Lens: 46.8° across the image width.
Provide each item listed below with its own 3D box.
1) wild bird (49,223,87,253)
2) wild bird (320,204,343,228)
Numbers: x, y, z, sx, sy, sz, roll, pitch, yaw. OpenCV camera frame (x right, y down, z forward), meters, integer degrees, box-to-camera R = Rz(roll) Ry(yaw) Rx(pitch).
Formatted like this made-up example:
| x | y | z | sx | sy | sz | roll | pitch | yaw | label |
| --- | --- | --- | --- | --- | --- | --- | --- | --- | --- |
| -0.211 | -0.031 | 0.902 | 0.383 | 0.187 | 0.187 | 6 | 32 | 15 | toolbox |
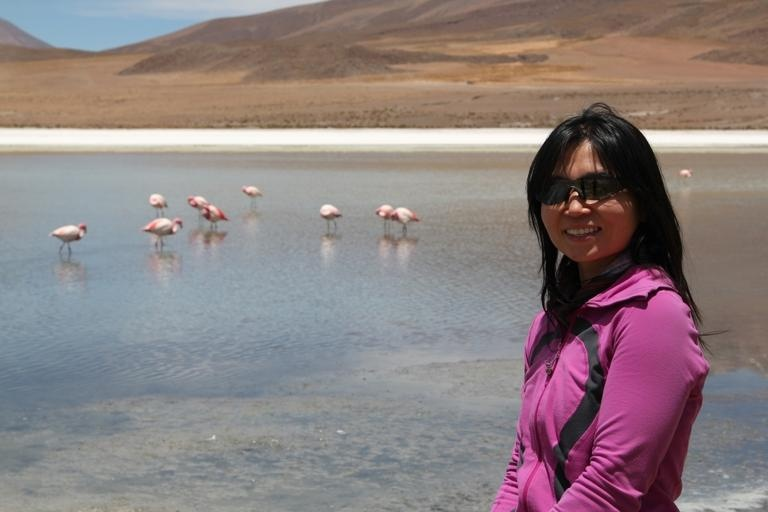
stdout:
| x | y | z | sx | sy | sz | roll | pitch | yaw | label |
| --- | --- | --- | --- | --- | --- | --- | --- | --- | --- |
| -5.730 | -0.357 | 16.100 | 0.489 | 0.527 | 1.103 | -5 | 14 | -14 | wild bird |
| -1.069 | -0.880 | 17.708 | 0.371 | 0.379 | 0.615 | 1 | 0 | -1 | wild bird |
